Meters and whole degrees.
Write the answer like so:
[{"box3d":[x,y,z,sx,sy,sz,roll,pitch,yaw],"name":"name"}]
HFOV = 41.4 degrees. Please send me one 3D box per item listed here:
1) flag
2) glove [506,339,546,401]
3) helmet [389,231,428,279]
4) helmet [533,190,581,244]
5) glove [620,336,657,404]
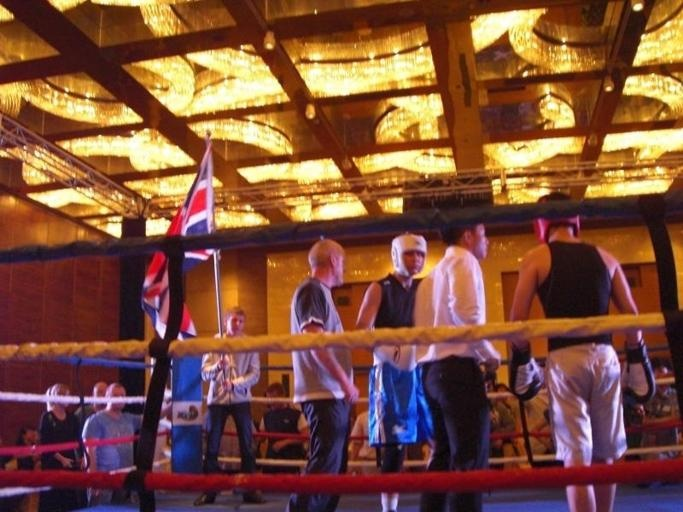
[{"box3d":[-1.312,-0.262,7.278,0.539,2.142,1.300,2,-18,-10],"name":"flag"},{"box3d":[1.450,0.889,6.826,0.366,0.399,0.225,-12,-11,43],"name":"glove"},{"box3d":[0.548,-0.036,7.568,0.274,0.389,0.350,-4,5,-18],"name":"helmet"},{"box3d":[1.647,-0.304,6.935,0.322,0.469,0.439,2,-5,-6],"name":"helmet"},{"box3d":[2.233,0.936,6.974,0.209,0.626,0.279,17,-26,-14],"name":"glove"}]
